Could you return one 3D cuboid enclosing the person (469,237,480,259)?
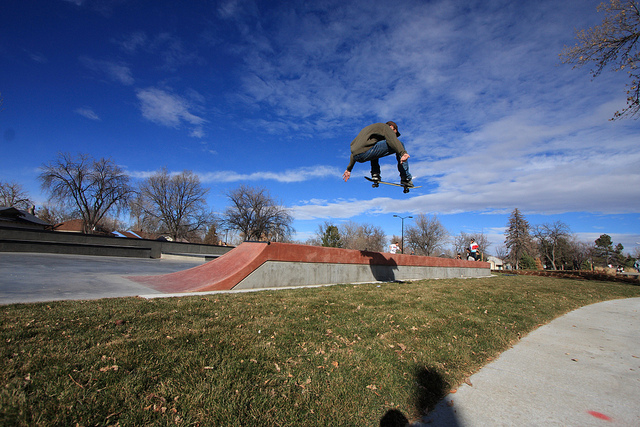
[{"bbox_3d":[11.212,2.511,24.053,0.525,1.507,2.564,-4,-7,24],"label":"person"}]
